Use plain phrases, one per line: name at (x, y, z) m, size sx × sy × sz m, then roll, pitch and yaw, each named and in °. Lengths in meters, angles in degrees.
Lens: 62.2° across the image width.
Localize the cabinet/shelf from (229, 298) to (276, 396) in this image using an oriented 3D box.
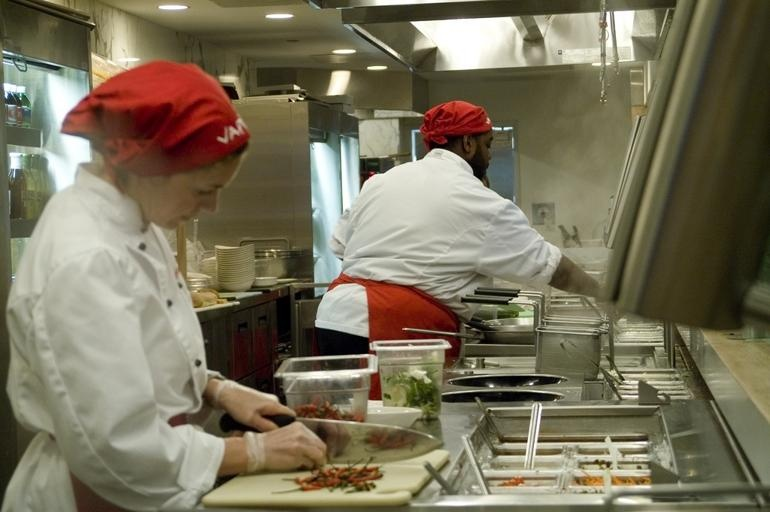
cabinet/shelf at (-0.862, 0.572, 4.119) m, size 0.205 × 0.584 × 0.640 m, roll -2°, pitch -10°, yaw 15°

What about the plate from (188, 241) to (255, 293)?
plate at (-1.113, 0.067, 4.516) m, size 0.330 × 0.244 × 0.398 m, roll -1°, pitch 5°, yaw -24°

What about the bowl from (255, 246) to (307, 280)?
bowl at (-0.776, 0.054, 4.855) m, size 0.417 × 0.224 × 0.264 m, roll -1°, pitch -5°, yaw -4°

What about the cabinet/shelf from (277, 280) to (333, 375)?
cabinet/shelf at (-0.531, 0.574, 4.636) m, size 0.305 × 0.435 × 0.300 m, roll 7°, pitch -11°, yaw 29°

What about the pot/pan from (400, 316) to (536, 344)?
pot/pan at (0.432, 0.321, 2.711) m, size 0.369 × 0.061 × 0.245 m, roll -1°, pitch -2°, yaw -15°

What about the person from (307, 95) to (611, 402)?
person at (0.217, -0.072, 2.578) m, size 0.995 × 1.096 × 0.575 m, roll 0°, pitch 11°, yaw -4°

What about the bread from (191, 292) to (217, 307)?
bread at (-1.082, 0.261, 3.827) m, size 0.088 × 0.034 × 0.116 m, roll 11°, pitch 3°, yaw 27°

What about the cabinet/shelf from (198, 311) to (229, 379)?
cabinet/shelf at (-1.112, 0.526, 3.967) m, size 0.211 × 0.321 × 0.347 m, roll 11°, pitch -6°, yaw -22°
